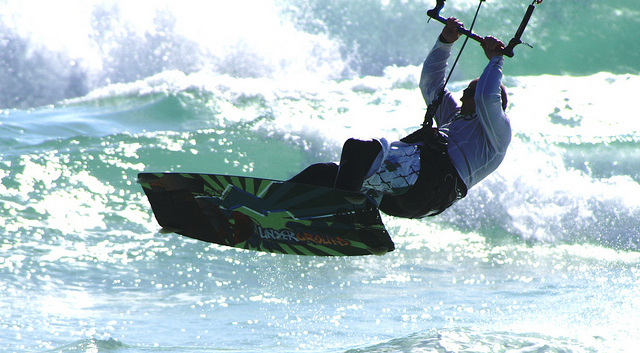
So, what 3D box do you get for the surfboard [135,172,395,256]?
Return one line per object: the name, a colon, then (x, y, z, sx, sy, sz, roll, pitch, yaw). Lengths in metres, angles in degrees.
surfboard: (-0.916, 0.766, 16.903, 5.923, 0.560, 1.468, 7, 64, -33)
